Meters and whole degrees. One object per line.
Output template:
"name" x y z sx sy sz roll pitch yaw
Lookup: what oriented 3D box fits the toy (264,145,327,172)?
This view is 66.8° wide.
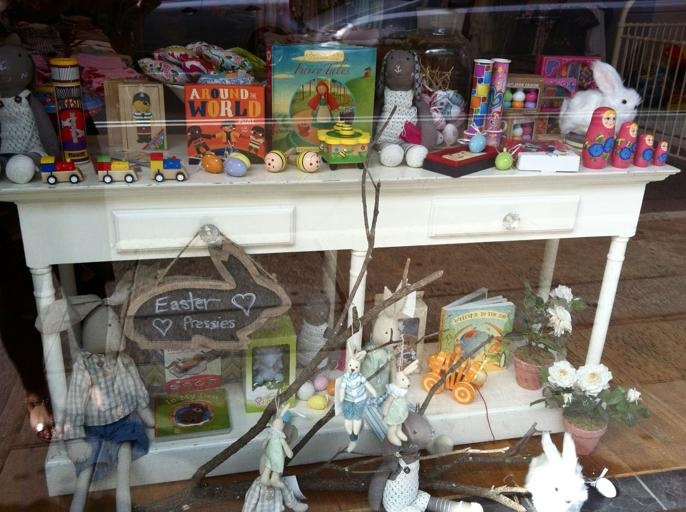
"toy" -0.127 -0.248 1.325 0.131 0.052 0.064 -3 17 -10

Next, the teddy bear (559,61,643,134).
"teddy bear" 0.705 -0.419 1.411 0.185 0.217 0.150 3 27 5

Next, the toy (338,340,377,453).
"toy" 0.021 0.397 1.442 0.106 0.386 0.128 -12 29 -22

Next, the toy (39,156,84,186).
"toy" -0.654 -0.205 1.236 0.093 0.064 0.059 -1 31 -8

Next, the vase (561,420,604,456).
"vase" 0.770 0.582 1.679 0.108 0.074 0.106 10 -3 26

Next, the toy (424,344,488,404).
"toy" 0.373 0.402 1.813 0.214 0.134 0.214 9 16 11

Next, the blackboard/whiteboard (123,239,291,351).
"blackboard/whiteboard" -0.354 0.087 1.304 0.331 0.218 0.025 -2 27 -15

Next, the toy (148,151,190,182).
"toy" -0.423 -0.207 1.290 0.125 0.088 0.064 -2 32 -13

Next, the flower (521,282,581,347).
"flower" 0.687 0.186 1.712 0.153 0.151 0.152 -36 8 32

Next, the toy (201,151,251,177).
"toy" -0.287 -0.227 1.296 0.112 0.049 0.055 3 33 2

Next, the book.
"book" 0.435 0.233 1.740 0.239 0.275 0.199 -8 38 -24

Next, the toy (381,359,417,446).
"toy" 0.149 0.384 1.432 0.086 0.303 0.109 2 27 3
